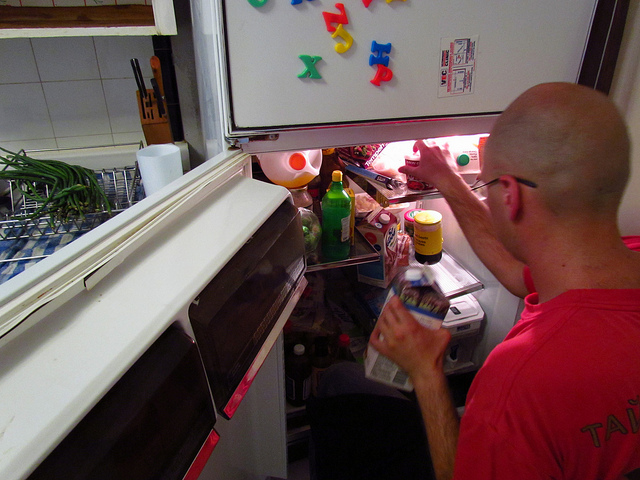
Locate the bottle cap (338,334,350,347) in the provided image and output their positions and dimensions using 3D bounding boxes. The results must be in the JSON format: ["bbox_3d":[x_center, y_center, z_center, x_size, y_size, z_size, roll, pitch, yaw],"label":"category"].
[{"bbox_3d":[0.096,0.404,1.672,0.046,0.040,0.049,-2,36,-4],"label":"bottle cap"}]

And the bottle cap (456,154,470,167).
[{"bbox_3d":[0.527,-0.294,1.561,0.030,0.031,0.010,-35,21,-5],"label":"bottle cap"}]

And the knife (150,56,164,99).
[{"bbox_3d":[-0.525,-0.530,1.405,0.031,0.142,0.036,4,27,22],"label":"knife"}]

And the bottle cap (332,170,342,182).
[{"bbox_3d":[0.053,-0.210,1.393,0.032,0.031,0.033,-11,37,-17],"label":"bottle cap"}]

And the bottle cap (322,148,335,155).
[{"bbox_3d":[0.033,-0.346,1.677,0.028,0.017,0.039,-2,-15,-9],"label":"bottle cap"}]
